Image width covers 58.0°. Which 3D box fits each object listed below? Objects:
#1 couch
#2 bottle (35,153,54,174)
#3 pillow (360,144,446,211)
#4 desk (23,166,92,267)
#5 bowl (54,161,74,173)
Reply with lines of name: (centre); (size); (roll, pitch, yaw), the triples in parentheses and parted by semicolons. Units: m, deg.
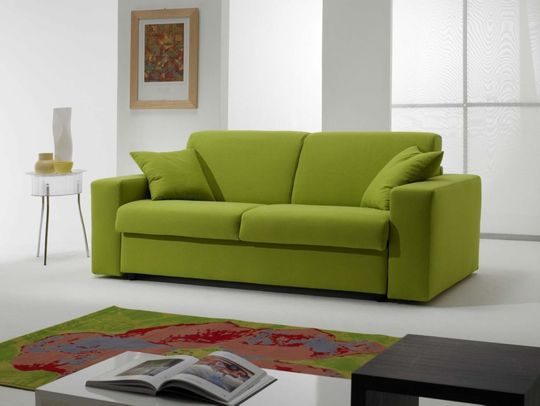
couch: (0.162, 0.023, 3.549); (2.642, 1.096, 0.964); (2, 6, 17)
bottle: (-1.957, -0.327, 4.224); (0.168, 0.174, 0.181); (1, -1, -25)
pillow: (0.888, -0.170, 3.324); (0.463, 0.423, 0.351); (0, 5, -3)
desk: (-1.859, 0.105, 4.381); (0.530, 0.744, 0.506); (-4, 5, -10)
bowl: (-1.839, -0.315, 4.319); (0.129, 0.083, 0.128); (3, 1, 0)
